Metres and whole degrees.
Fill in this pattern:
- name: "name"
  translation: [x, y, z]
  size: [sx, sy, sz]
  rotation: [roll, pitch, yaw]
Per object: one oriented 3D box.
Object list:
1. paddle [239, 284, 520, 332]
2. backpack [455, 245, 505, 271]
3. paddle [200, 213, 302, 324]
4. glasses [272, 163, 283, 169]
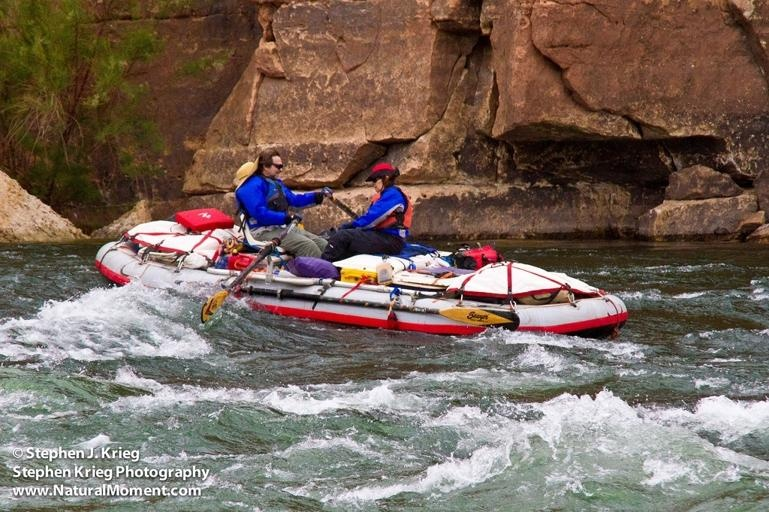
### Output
- name: "paddle"
  translation: [-0.081, 0.890, 21.139]
  size: [4.714, 0.710, 0.252]
  rotation: [4, 9, 15]
- name: "backpack"
  translation: [1.764, 0.021, 22.266]
  size: [0.684, 0.230, 0.478]
  rotation: [-3, 6, -29]
- name: "paddle"
  translation: [-2.320, 0.278, 21.903]
  size: [3.351, 0.254, 0.330]
  rotation: [-36, 15, -29]
- name: "glasses"
  translation: [-1.940, -1.644, 22.355]
  size: [0.199, 0.056, 0.190]
  rotation: [4, -30, -37]
